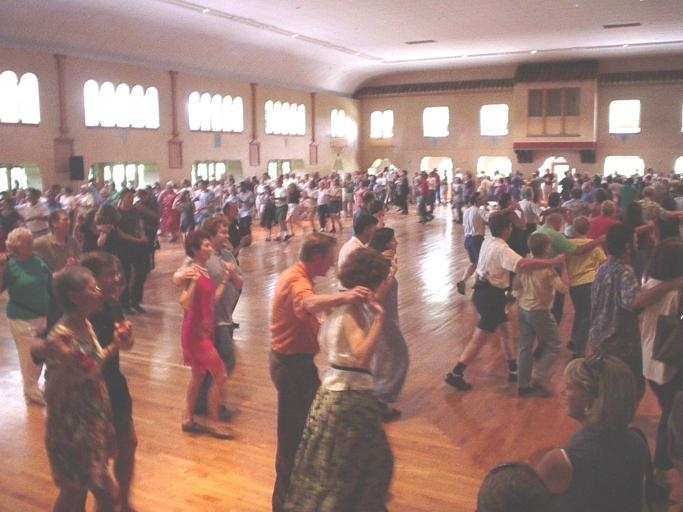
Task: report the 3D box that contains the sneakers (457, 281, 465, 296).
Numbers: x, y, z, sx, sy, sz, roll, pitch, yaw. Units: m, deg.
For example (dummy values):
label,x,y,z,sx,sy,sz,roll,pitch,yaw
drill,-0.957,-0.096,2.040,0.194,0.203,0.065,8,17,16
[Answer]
label,x,y,z,sx,sy,sz,roll,pitch,yaw
sneakers,1.981,0.515,8.653,0.110,0.166,0.232,1,1,6

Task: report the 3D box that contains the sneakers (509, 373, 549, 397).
label,x,y,z,sx,sy,sz,roll,pitch,yaw
sneakers,1.817,1.289,5.126,0.361,0.263,0.127,-12,15,-21

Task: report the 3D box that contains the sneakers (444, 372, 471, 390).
label,x,y,z,sx,sy,sz,roll,pitch,yaw
sneakers,1.149,1.248,5.254,0.250,0.114,0.136,17,12,-6

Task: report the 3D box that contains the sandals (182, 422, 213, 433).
label,x,y,z,sx,sy,sz,roll,pitch,yaw
sandals,-1.230,1.456,4.435,0.284,0.112,0.108,1,1,-7
